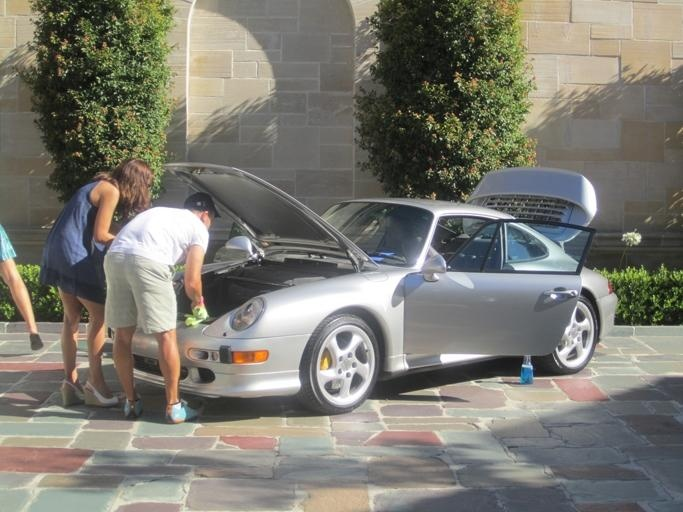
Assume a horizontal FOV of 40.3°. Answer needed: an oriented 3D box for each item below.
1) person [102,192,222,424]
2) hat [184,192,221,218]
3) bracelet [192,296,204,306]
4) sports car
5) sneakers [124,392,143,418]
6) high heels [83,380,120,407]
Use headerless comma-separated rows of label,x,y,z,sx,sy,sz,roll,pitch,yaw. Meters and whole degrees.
person,-1.735,0.563,8.760,0.953,2.014,0.458,2,12,-3
hat,-1.311,-0.491,8.989,0.300,0.141,0.211,13,-10,-36
bracelet,-1.322,0.405,8.753,0.119,0.079,0.049,5,31,-15
sports car,0.568,0.511,9.677,4.234,1.577,2.622,3,-4,-30
sneakers,-1.969,1.458,8.906,0.106,0.115,0.292,1,4,-7
high heels,-2.343,1.385,9.241,0.362,0.215,0.190,4,-1,-9
